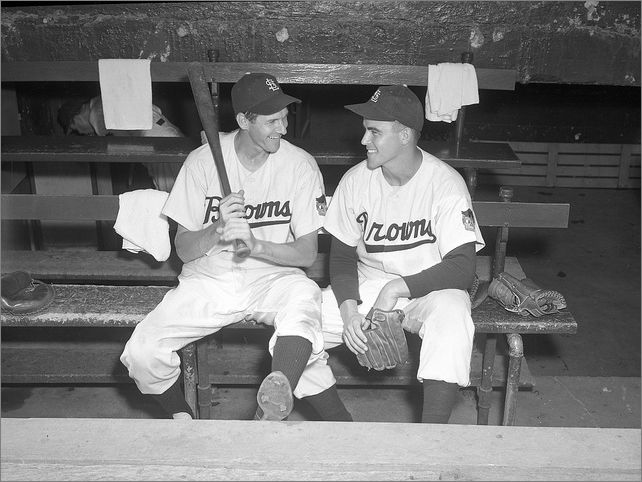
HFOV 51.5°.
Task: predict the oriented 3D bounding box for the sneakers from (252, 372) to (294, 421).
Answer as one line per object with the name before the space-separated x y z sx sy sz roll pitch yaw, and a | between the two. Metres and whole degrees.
sneakers | -0.202 0.704 3.042 0.116 0.269 0.124 19 4 9

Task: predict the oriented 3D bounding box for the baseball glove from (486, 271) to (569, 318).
baseball glove | 1.142 0.300 3.698 0.400 0.181 0.214 11 17 40

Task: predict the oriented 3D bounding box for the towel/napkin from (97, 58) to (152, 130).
towel/napkin | -1.306 -0.992 4.522 0.419 0.441 0.124 2 6 2

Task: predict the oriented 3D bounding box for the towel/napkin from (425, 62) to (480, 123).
towel/napkin | 0.865 -0.994 4.440 0.438 0.353 0.169 3 2 4

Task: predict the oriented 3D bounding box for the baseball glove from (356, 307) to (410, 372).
baseball glove | 0.330 0.497 3.375 0.341 0.295 0.112 -7 25 4

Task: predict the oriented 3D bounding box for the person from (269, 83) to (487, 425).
person | 0.391 0.101 3.437 0.874 1.778 0.868 4 15 12

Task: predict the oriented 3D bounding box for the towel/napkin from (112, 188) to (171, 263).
towel/napkin | -1.038 -0.105 3.843 0.441 0.357 0.144 0 -3 -4

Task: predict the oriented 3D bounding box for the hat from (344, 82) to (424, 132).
hat | 0.353 -0.754 3.573 0.450 0.194 0.296 9 21 -9
